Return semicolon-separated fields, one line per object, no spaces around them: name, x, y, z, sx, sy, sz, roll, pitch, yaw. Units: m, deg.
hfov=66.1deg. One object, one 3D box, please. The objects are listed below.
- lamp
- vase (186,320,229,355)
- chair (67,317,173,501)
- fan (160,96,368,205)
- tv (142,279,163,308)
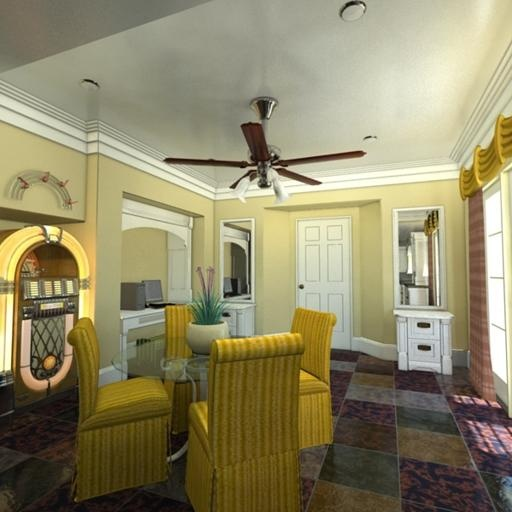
lamp;0.113;-0.530;3.106;0.291;0.122;0.301;-7;-18;25
vase;-0.359;0.563;2.642;0.261;0.186;0.269;-1;-12;38
chair;-0.859;0.827;2.758;0.766;1.270;0.849;0;0;-22
fan;0.032;-0.877;3.147;1.381;0.827;1.450;0;-5;-3
tv;-1.275;0.453;4.869;0.251;0.354;0.372;0;-2;15
